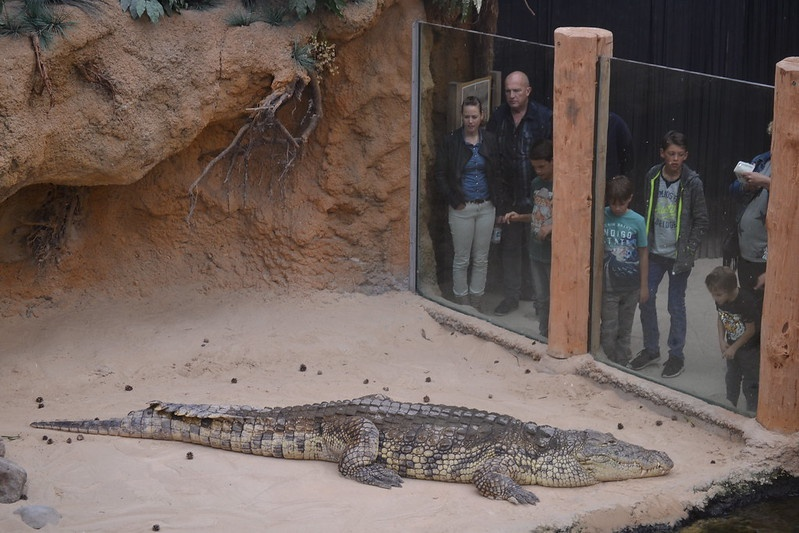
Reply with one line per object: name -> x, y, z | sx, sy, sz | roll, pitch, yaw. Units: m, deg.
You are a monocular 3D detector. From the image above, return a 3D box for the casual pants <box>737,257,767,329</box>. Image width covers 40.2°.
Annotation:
casual pants -> 3.784, 0.316, 11.984 | 0.176, 0.738, 0.215 | 23, -17, -17

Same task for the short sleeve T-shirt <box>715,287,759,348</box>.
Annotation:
short sleeve T-shirt -> 3.758, 0.560, 12.213 | 0.303, 0.633, 0.488 | -28, 18, -35

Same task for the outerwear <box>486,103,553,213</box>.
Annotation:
outerwear -> 1.532, -1.403, 13.660 | 0.845, 2.077, 0.525 | 12, 20, 39

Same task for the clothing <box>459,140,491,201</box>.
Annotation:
clothing -> 0.983, -1.225, 14.324 | 0.428, 0.759, 0.043 | 8, 13, 37

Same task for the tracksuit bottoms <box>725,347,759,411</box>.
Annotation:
tracksuit bottoms -> 3.774, 1.224, 12.169 | 0.224, 0.576, 0.147 | -6, -13, 25

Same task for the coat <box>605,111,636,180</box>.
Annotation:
coat -> 2.563, -1.407, 12.719 | 0.078, 0.755, 0.348 | -9, 13, -40

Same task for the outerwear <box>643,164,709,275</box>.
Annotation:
outerwear -> 3.131, -0.608, 12.598 | 0.407, 1.214, 0.731 | -22, 28, -40

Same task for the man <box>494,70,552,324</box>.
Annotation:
man -> 1.524, -0.909, 13.766 | 0.848, 3.198, 0.836 | -2, -1, -1

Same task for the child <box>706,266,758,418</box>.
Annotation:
child -> 3.754, 0.859, 12.199 | 0.598, 1.959, 0.604 | -27, 29, -36

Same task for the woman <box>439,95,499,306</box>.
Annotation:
woman -> 0.924, -0.788, 14.623 | 0.701, 3.101, 0.618 | -1, 22, -2

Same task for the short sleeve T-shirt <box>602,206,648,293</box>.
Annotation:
short sleeve T-shirt -> 2.670, -0.232, 12.842 | 0.738, 1.102, 0.353 | 5, 10, 34

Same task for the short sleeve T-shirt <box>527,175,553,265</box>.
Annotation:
short sleeve T-shirt -> 1.743, -0.578, 13.478 | 0.087, 1.033, 0.373 | -7, 12, -33

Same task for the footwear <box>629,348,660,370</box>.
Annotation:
footwear -> 2.862, 1.092, 12.819 | 0.341, 0.165, 0.152 | -26, 31, 14
